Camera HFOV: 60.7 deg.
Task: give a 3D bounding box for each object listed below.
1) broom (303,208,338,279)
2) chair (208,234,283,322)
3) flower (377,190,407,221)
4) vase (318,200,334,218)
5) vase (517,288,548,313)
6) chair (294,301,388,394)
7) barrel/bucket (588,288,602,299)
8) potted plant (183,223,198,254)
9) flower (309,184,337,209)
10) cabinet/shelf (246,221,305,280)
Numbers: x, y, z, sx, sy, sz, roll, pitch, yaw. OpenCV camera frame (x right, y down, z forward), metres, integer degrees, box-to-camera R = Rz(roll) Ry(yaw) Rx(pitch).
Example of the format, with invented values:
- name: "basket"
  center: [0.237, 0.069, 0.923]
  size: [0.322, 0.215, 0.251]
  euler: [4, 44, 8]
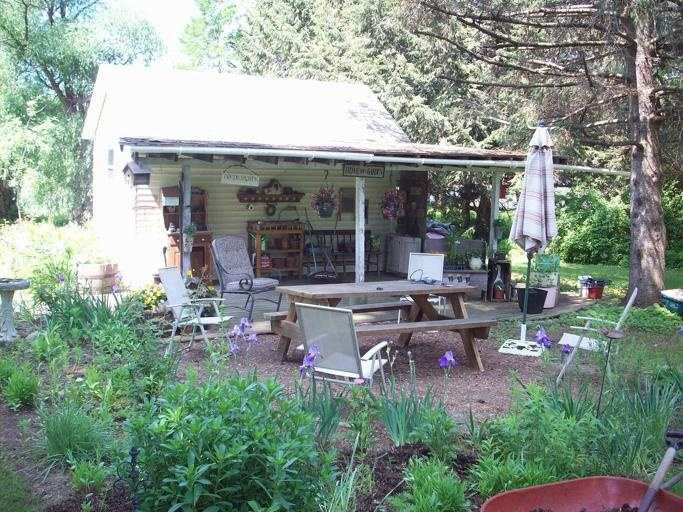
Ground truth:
- name: "broom"
  center: [-0.517, -0.351, 13.699]
  size: [0.672, 1.607, 1.009]
  euler: [-3, 4, -4]
- name: "chair"
  center: [-1.631, 0.331, 10.066]
  size: [0.982, 1.459, 0.833]
  euler: [1, 6, 34]
- name: "flower"
  center: [1.265, -1.265, 14.398]
  size: [0.590, 0.691, 0.677]
  euler: [-2, 4, 8]
- name: "vase"
  center: [-0.386, -1.114, 13.692]
  size: [0.339, 0.295, 0.313]
  euler: [0, -2, 2]
- name: "vase"
  center: [3.467, 0.755, 10.907]
  size: [0.591, 0.552, 0.635]
  euler: [1, -2, -36]
- name: "chair"
  center: [0.110, 1.055, 6.120]
  size: [0.635, 1.164, 0.801]
  euler: [15, 15, 42]
- name: "barrel/bucket"
  center: [5.625, 0.828, 12.964]
  size: [0.268, 0.196, 0.208]
  euler: [-4, 7, -17]
- name: "potted plant"
  center: [-2.572, -0.294, 9.777]
  size: [0.215, 0.499, 0.338]
  euler: [-4, 5, -17]
- name: "flower"
  center: [-0.440, -1.419, 13.802]
  size: [0.550, 0.749, 0.592]
  euler: [0, 10, 0]
- name: "cabinet/shelf"
  center: [-1.527, -0.184, 13.157]
  size: [1.133, 1.452, 0.683]
  euler: [-2, 4, -29]
